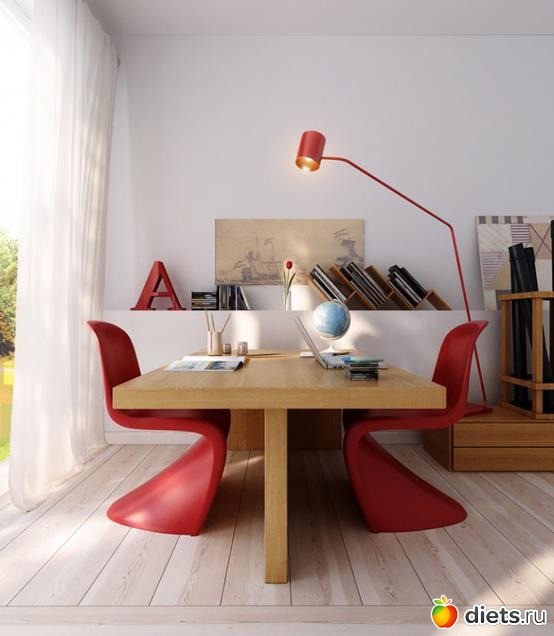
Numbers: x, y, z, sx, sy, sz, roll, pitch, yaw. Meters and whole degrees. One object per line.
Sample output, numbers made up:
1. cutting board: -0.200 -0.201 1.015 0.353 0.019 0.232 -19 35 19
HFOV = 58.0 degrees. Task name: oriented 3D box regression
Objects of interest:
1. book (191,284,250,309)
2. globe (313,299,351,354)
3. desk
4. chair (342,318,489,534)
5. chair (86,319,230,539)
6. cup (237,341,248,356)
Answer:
1. book: -0.397 -0.143 3.503 0.379 0.162 0.088 0 5 -3
2. globe: 0.270 0.053 2.495 0.169 0.226 0.152 -9 7 2
3. desk: 0.014 0.528 1.821 1.025 0.680 0.563 0 4 -1
4. chair: 0.585 0.450 2.219 0.632 0.819 0.514 -1 0 1
5. chair: -0.476 0.441 2.194 0.623 0.801 0.520 1 3 -3
6. cup: -0.172 0.152 2.454 0.061 0.065 0.060 1 1 0
